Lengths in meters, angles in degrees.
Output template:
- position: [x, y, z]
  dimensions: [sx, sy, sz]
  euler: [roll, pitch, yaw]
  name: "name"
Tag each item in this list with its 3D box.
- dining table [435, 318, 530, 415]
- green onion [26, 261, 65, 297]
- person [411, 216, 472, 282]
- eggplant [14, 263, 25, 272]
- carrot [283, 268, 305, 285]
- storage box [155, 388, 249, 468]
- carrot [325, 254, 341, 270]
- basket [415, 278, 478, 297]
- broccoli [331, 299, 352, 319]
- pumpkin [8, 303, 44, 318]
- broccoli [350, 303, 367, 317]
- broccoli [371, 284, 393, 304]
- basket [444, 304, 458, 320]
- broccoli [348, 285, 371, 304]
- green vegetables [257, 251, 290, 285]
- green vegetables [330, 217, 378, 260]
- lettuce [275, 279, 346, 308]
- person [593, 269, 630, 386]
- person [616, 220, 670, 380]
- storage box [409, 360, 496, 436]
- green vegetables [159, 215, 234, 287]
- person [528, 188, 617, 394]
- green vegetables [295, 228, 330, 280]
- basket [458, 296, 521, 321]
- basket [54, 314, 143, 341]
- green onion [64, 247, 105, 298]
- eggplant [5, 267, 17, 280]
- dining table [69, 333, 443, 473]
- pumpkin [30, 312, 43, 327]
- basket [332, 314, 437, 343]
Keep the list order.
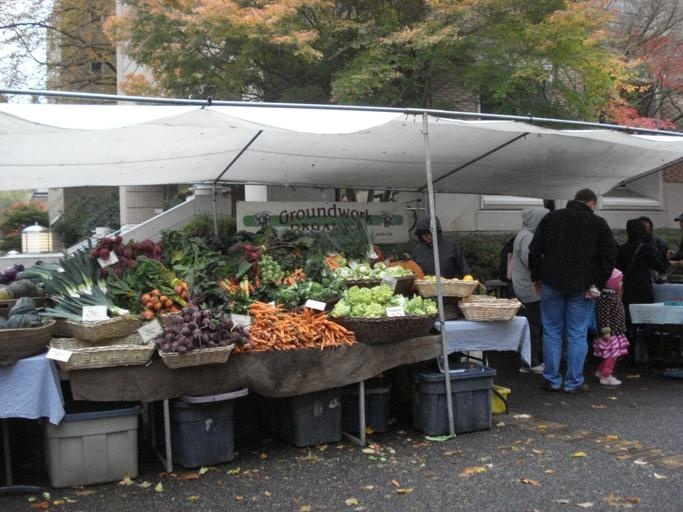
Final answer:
- position: [1.569, 1.212, 8.397]
  dimensions: [1.429, 1.121, 1.152]
  euler: [0, 0, -13]
  name: "dining table"
- position: [-3.179, 0.213, 7.457]
  dimensions: [0.280, 0.146, 0.718]
  euler: [18, 5, -26]
  name: "green onion"
- position: [1.246, -0.105, 9.035]
  dimensions: [0.639, 0.826, 0.583]
  euler: [3, 4, -14]
  name: "person"
- position: [-3.640, 0.138, 7.855]
  dimensions: [0.115, 0.106, 0.107]
  euler: [-1, -5, 6]
  name: "eggplant"
- position: [-0.514, 0.241, 7.755]
  dimensions: [0.173, 0.078, 0.180]
  euler: [19, 43, 24]
  name: "carrot"
- position: [-1.405, 1.772, 7.044]
  dimensions: [0.898, 0.814, 0.779]
  euler: [0, 0, -16]
  name: "storage box"
- position: [-0.086, 0.082, 8.142]
  dimensions: [0.162, 0.056, 0.163]
  euler: [31, 35, 22]
  name: "carrot"
- position: [1.178, 0.338, 7.890]
  dimensions: [0.571, 0.252, 0.508]
  euler: [-8, 12, -29]
  name: "basket"
- position: [-0.007, 0.562, 7.303]
  dimensions: [0.183, 0.126, 0.184]
  euler: [-2, 11, -4]
  name: "broccoli"
- position: [-3.048, 0.534, 6.792]
  dimensions: [0.198, 0.088, 0.225]
  euler: [-20, -11, 37]
  name: "pumpkin"
- position: [0.183, 0.577, 7.251]
  dimensions: [0.140, 0.131, 0.133]
  euler: [2, -3, -21]
  name: "broccoli"
- position: [0.437, 0.408, 7.411]
  dimensions: [0.199, 0.127, 0.189]
  euler: [-1, 3, -32]
  name: "broccoli"
- position: [1.229, 0.634, 7.835]
  dimensions: [0.180, 0.123, 0.173]
  euler: [0, -3, 1]
  name: "basket"
- position: [0.193, 0.420, 7.433]
  dimensions: [0.190, 0.109, 0.199]
  euler: [3, 0, 10]
  name: "broccoli"
- position: [-0.764, 0.155, 7.717]
  dimensions: [0.279, 0.169, 0.345]
  euler: [12, 8, -17]
  name: "green vegetables"
- position: [0.121, -0.161, 8.639]
  dimensions: [0.480, 0.309, 0.592]
  euler: [-36, 48, -9]
  name: "green vegetables"
- position: [-0.342, 0.406, 7.481]
  dimensions: [0.801, 0.264, 0.581]
  euler: [2, -1, -7]
  name: "lettuce"
- position: [3.568, 0.939, 9.240]
  dimensions: [0.550, 1.489, 0.516]
  euler: [-1, 0, 27]
  name: "person"
- position: [4.321, 0.588, 10.309]
  dimensions: [0.885, 2.119, 0.742]
  euler: [0, -2, -38]
  name: "person"
- position: [1.215, 1.562, 7.944]
  dimensions: [0.948, 0.752, 0.750]
  euler: [-1, 0, -9]
  name: "storage box"
- position: [-1.738, -0.060, 8.597]
  dimensions: [0.867, 0.494, 0.988]
  euler: [15, 26, 15]
  name: "green vegetables"
- position: [2.906, 0.480, 8.865]
  dimensions: [0.912, 2.582, 1.014]
  euler: [0, 0, 25]
  name: "person"
- position: [-0.289, -0.016, 8.088]
  dimensions: [0.296, 0.561, 0.319]
  euler: [0, 4, -21]
  name: "green vegetables"
- position: [1.615, 0.593, 7.740]
  dimensions: [0.473, 0.163, 0.347]
  euler: [-1, 1, -1]
  name: "basket"
- position: [-2.432, 0.721, 6.992]
  dimensions: [0.708, 0.258, 0.757]
  euler: [6, -4, -35]
  name: "basket"
- position: [-2.635, 0.187, 7.191]
  dimensions: [0.452, 0.457, 0.166]
  euler: [-28, -16, -43]
  name: "green onion"
- position: [-3.627, 0.193, 7.672]
  dimensions: [0.111, 0.113, 0.118]
  euler: [0, -4, -30]
  name: "eggplant"
- position: [-1.001, 1.526, 7.029]
  dimensions: [3.463, 1.209, 2.056]
  euler: [3, 1, -23]
  name: "dining table"
- position: [-2.895, 0.617, 6.658]
  dimensions: [0.110, 0.108, 0.113]
  euler: [3, -12, -41]
  name: "pumpkin"
- position: [0.505, 0.778, 7.281]
  dimensions: [1.087, 0.290, 0.958]
  euler: [4, 4, -43]
  name: "basket"
